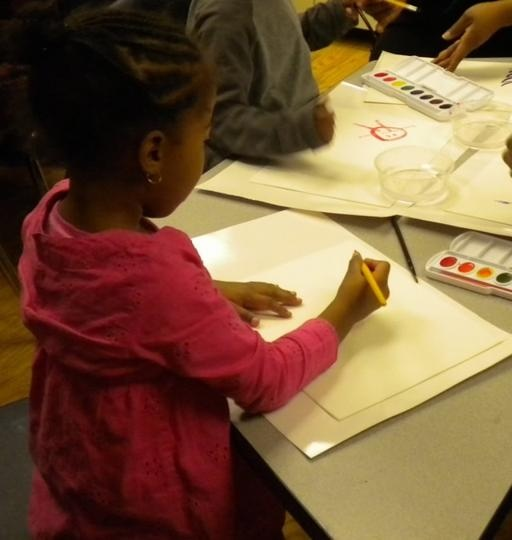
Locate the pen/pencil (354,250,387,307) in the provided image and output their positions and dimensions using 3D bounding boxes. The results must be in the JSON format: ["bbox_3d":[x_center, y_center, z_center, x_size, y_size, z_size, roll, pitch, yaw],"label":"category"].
[{"bbox_3d":[0.146,0.010,0.615,0.015,0.011,0.094,-10,37,-5],"label":"pen/pencil"}]
